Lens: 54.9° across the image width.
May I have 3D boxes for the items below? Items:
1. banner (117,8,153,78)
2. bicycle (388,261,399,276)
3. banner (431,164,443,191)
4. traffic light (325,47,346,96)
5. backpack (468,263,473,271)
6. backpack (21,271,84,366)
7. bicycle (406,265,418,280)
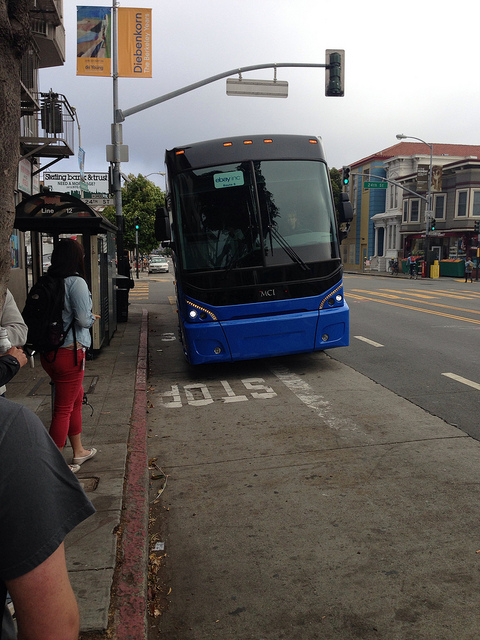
[{"bbox_3d":[-3.854,-10.113,16.824,1.366,2.777,0.719,0,6,6],"label":"banner"},{"bbox_3d":[16.538,-5.582,50.135,0.941,1.039,1.602,0,3,-1],"label":"bicycle"},{"bbox_3d":[18.830,-13.641,44.443,0.947,2.685,3.520,2,7,23],"label":"banner"},{"bbox_3d":[2.951,-7.761,14.514,0.622,1.569,0.477,1,-7,6],"label":"traffic light"},{"bbox_3d":[16.875,-3.917,34.159,0.602,0.555,0.149,-6,8,-41],"label":"backpack"},{"bbox_3d":[-1.711,-0.020,4.236,0.450,0.842,0.474,4,-2,-39],"label":"backpack"},{"bbox_3d":[16.168,-4.297,43.398,0.763,1.042,1.493,-1,0,-5],"label":"bicycle"}]
